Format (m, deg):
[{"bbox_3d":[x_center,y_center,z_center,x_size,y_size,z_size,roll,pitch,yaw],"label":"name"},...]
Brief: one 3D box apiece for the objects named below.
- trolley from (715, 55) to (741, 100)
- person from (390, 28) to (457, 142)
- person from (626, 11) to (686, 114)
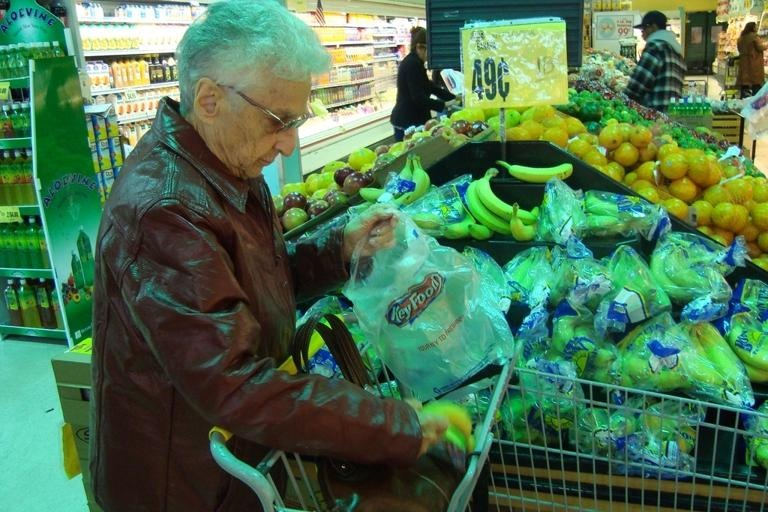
[{"bbox_3d":[8.102,-4.174,12.382,0.450,0.779,0.433,-10,11,-27],"label":"trolley"},{"bbox_3d":[0.527,-2.086,6.854,0.719,1.871,0.777,11,24,36],"label":"person"},{"bbox_3d":[3.088,-2.165,6.054,0.506,1.331,0.713,5,21,20],"label":"person"}]
